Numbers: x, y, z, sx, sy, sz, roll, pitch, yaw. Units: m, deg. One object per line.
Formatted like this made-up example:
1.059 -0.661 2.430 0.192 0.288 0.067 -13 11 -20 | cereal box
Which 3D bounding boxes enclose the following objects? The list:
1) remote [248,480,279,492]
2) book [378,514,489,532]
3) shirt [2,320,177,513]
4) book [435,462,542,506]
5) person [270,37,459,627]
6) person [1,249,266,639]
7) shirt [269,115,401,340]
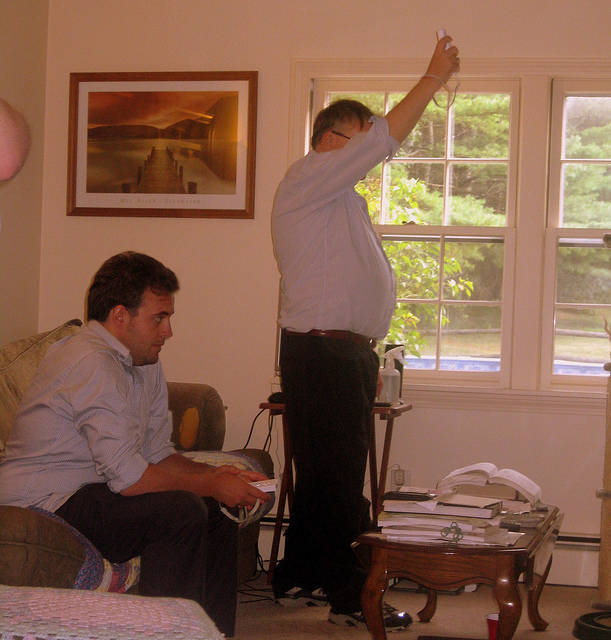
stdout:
-0.115 0.436 1.962 0.043 0.014 0.046 1 0 -14 | remote
0.325 0.530 1.940 0.277 0.037 0.037 3 -1 13 | book
-0.563 0.254 1.979 0.398 0.544 0.377 3 7 -30 | shirt
0.544 0.506 2.289 0.436 0.108 0.157 4 -1 -34 | book
0.138 0.037 2.461 0.554 1.743 0.376 2 -1 11 | person
-0.414 0.328 2.014 0.649 1.029 0.568 2 -1 20 | person
0.082 -0.292 2.445 0.428 0.655 0.337 2 -1 5 | shirt
